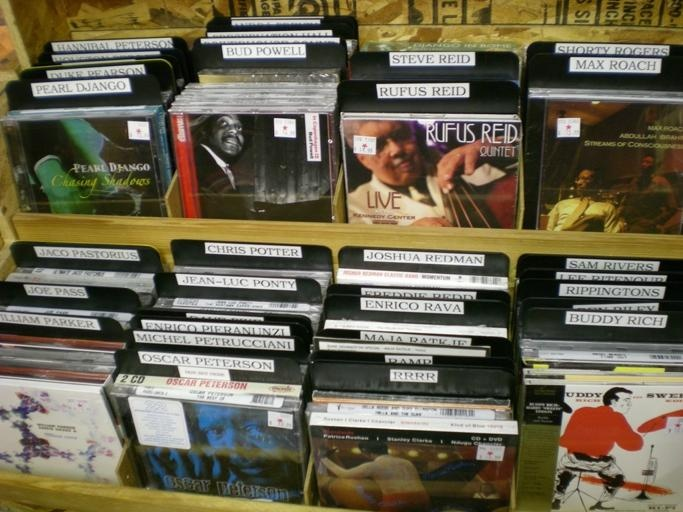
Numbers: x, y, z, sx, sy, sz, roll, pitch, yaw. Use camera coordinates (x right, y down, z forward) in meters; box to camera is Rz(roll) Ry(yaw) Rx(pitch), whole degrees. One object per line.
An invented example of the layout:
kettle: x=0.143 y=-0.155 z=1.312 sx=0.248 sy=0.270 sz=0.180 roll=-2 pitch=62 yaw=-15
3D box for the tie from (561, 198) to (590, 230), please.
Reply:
tie: x=0.726 y=-0.125 z=1.794 sx=0.043 sy=0.132 sz=0.025 roll=32 pitch=21 yaw=2
